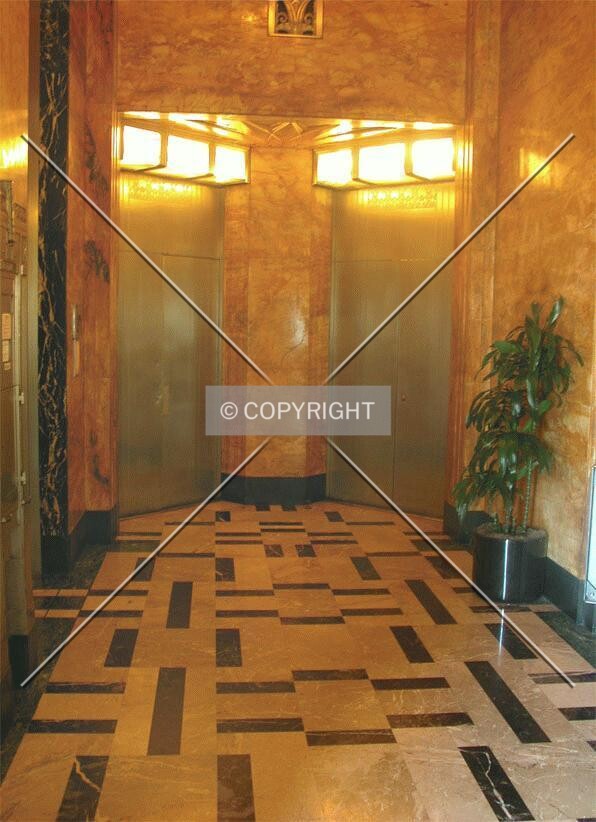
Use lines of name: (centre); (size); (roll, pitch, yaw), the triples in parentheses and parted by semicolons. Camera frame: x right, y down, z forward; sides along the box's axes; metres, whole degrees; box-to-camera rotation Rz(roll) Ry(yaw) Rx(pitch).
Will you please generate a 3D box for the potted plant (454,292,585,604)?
potted plant: (1.294, 0.224, 4.403); (0.646, 1.775, 1.300); (2, 3, 11)
